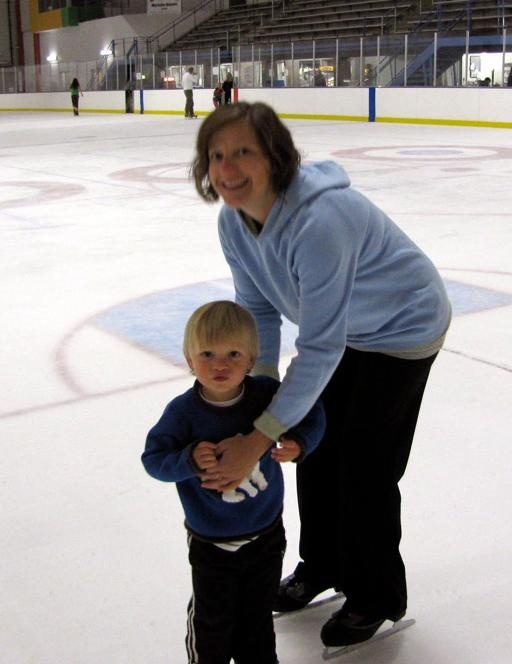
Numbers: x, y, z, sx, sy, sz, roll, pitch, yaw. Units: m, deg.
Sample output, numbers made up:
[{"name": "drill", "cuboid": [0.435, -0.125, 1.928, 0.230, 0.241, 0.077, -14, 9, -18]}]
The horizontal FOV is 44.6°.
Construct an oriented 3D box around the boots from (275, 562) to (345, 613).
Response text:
[{"name": "boots", "cuboid": [0.104, 0.634, 1.531, 0.247, 0.089, 0.080, 16, -16, -22]}]
